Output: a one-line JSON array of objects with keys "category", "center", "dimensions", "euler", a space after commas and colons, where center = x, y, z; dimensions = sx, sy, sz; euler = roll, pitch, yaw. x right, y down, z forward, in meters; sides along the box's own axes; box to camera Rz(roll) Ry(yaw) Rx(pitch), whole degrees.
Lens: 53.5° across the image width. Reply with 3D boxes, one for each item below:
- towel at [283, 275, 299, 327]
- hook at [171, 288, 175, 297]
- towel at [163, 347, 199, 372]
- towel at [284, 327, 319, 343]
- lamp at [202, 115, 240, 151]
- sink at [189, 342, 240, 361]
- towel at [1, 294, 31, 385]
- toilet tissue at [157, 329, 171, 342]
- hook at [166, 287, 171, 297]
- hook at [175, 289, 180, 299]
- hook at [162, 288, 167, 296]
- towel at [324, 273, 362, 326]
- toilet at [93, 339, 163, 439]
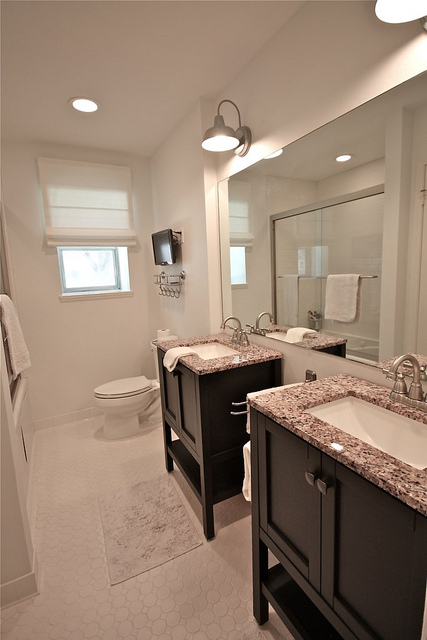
[{"category": "towel", "center": [0.354, -0.085, 1.998], "dimensions": [0.120, 0.250, 0.027], "euler": [4, -4, -41]}, {"category": "hook", "center": [-0.311, -0.207, 3.244], "dimensions": [0.003, 0.072, 0.079], "euler": [-7, 12, -22]}, {"category": "towel", "center": [-0.169, 0.194, 2.113], "dimensions": [0.133, 0.102, 0.187], "euler": [-7, 12, -18]}, {"category": "towel", "center": [0.397, 0.074, 1.937], "dimensions": [0.008, 0.092, 0.254], "euler": [-7, 12, -22]}, {"category": "lamp", "center": [0.030, -0.879, 1.982], "dimensions": [0.160, 0.129, 0.281], "euler": [-1, 12, 12]}, {"category": "sink", "center": [0.040, 0.169, 2.336], "dimensions": [0.312, 0.085, 0.180], "euler": [3, 13, 31]}, {"category": "towel", "center": [-1.015, 0.110, 2.165], "dimensions": [0.106, 0.509, 0.388], "euler": [-8, 12, -24]}, {"category": "toilet tissue", "center": [-0.410, 0.120, 3.421], "dimensions": [0.068, 0.081, 0.065], "euler": [1, 0, 30]}, {"category": "hook", "center": [-0.350, -0.213, 3.329], "dimensions": [0.032, 0.053, 0.013], "euler": [4, 6, 24]}, {"category": "hook", "center": [-0.269, -0.192, 3.149], "dimensions": [0.003, 0.072, 0.090], "euler": [-7, 12, -21]}, {"category": "hook", "center": [-0.400, -0.233, 3.449], "dimensions": [0.062, 0.055, 0.007], "euler": [-4, 21, 37]}, {"category": "towel", "center": [0.504, -0.085, 1.685], "dimensions": [0.032, 0.205, 0.166], "euler": [3, 1, -32]}, {"category": "toilet", "center": [-0.578, 0.623, 3.140], "dimensions": [0.355, 0.402, 0.675], "euler": [2, 13, 24]}]
